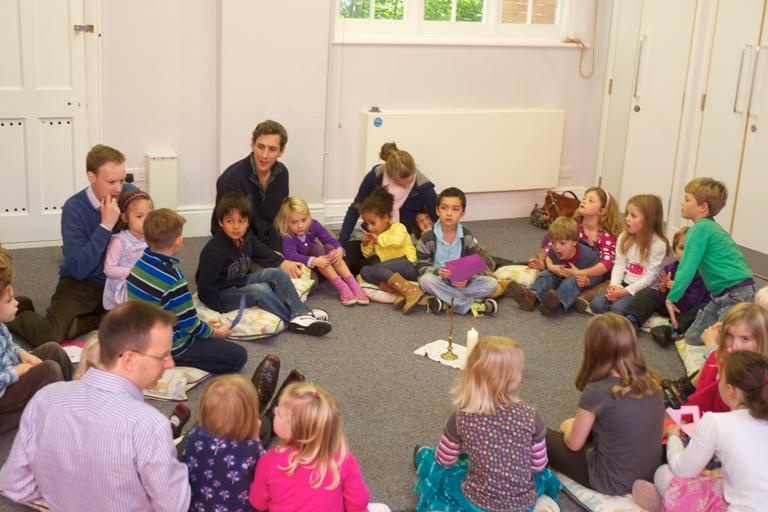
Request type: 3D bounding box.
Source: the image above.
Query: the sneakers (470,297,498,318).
[{"bbox_3d":[0.706,0.354,4.108,0.210,0.096,0.102,-7,-2,37],"label":"sneakers"}]

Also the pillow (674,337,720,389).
[{"bbox_3d":[1.928,0.642,3.560,0.259,0.074,0.270,-7,30,22],"label":"pillow"}]

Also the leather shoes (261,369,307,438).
[{"bbox_3d":[-0.442,0.636,2.466,0.101,0.352,0.149,11,-12,17],"label":"leather shoes"}]

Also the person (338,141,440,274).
[{"bbox_3d":[0.072,-0.407,4.657,1.020,1.097,0.700,-5,57,-4],"label":"person"}]

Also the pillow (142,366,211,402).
[{"bbox_3d":[-1.138,0.696,3.157,0.233,0.082,0.235,10,22,19],"label":"pillow"}]

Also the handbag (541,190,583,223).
[{"bbox_3d":[1.700,-0.474,5.531,0.364,0.355,0.199,11,-14,18],"label":"handbag"}]

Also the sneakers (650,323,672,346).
[{"bbox_3d":[1.858,0.515,3.858,0.090,0.109,0.160,32,20,-5],"label":"sneakers"}]

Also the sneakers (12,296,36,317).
[{"bbox_3d":[-2.131,0.298,3.385,0.079,0.131,0.141,-9,-1,14],"label":"sneakers"}]

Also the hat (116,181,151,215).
[{"bbox_3d":[-1.596,-0.370,3.590,0.179,0.236,0.210,1,19,-32],"label":"hat"}]

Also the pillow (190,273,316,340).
[{"bbox_3d":[-0.751,0.380,3.735,0.501,0.156,0.439,-13,25,-42],"label":"pillow"}]

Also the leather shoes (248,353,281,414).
[{"bbox_3d":[-0.619,0.620,2.913,0.101,0.324,0.135,8,9,14],"label":"leather shoes"}]

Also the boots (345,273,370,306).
[{"bbox_3d":[-0.202,0.249,4.240,0.104,0.288,0.095,-23,-14,-44],"label":"boots"}]

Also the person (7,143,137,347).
[{"bbox_3d":[-2.030,-0.081,3.686,0.562,0.859,1.035,18,31,21],"label":"person"}]

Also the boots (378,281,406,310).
[{"bbox_3d":[0.087,0.259,4.198,0.196,0.209,0.170,34,-7,8],"label":"boots"}]

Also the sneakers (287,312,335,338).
[{"bbox_3d":[-0.480,0.449,3.759,0.280,0.128,0.132,9,31,10],"label":"sneakers"}]

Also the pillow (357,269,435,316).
[{"bbox_3d":[0.067,0.269,4.244,0.398,0.284,0.182,19,-6,21],"label":"pillow"}]

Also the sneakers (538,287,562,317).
[{"bbox_3d":[1.222,0.352,4.160,0.127,0.217,0.086,41,37,25],"label":"sneakers"}]
